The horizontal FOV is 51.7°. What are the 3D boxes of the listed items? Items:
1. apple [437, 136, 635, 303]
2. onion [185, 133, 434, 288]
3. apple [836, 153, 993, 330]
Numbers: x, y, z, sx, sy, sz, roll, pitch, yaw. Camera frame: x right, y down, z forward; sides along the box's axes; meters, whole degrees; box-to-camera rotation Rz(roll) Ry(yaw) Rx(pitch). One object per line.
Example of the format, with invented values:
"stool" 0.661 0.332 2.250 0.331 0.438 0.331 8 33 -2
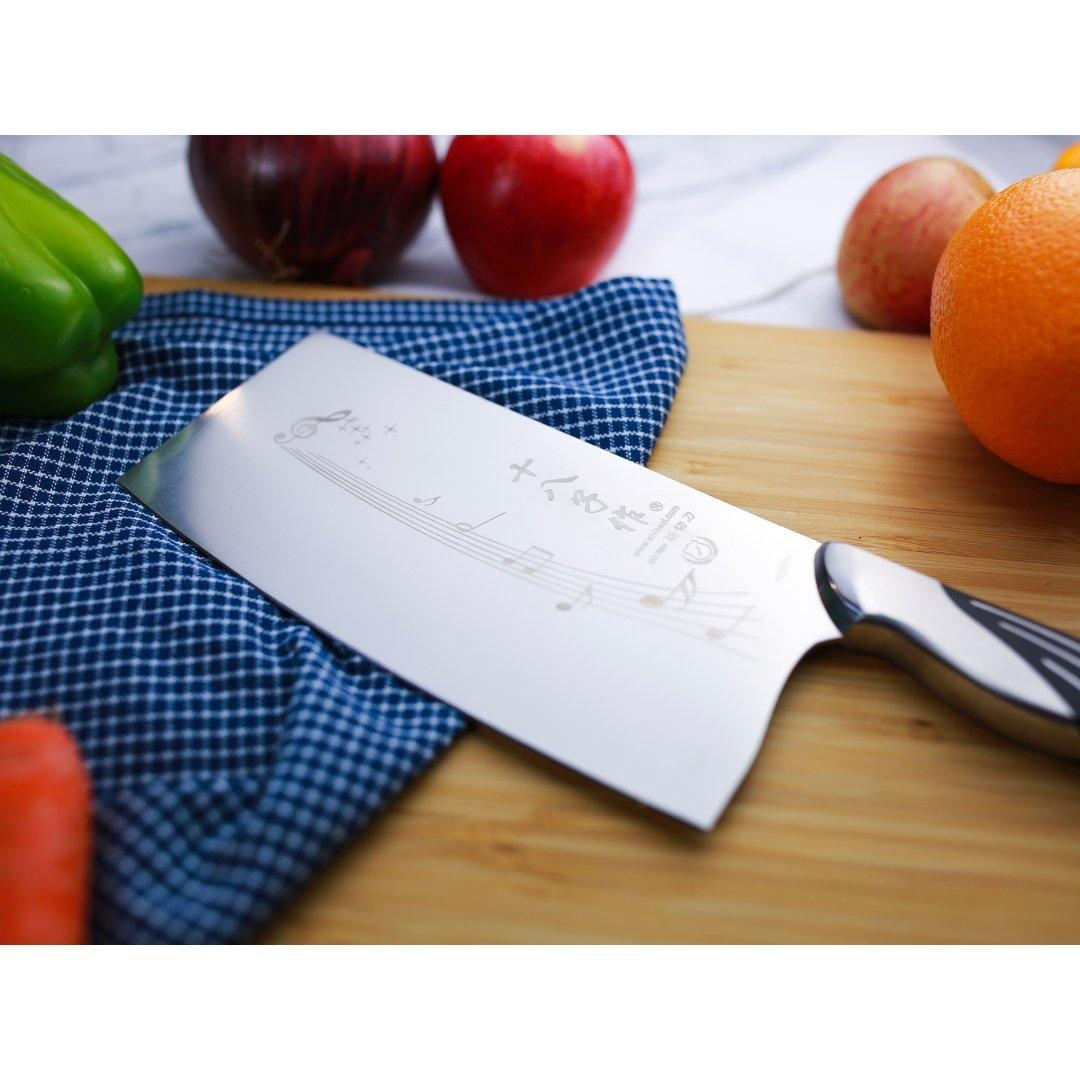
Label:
"apple" -0.010 -0.275 0.915 0.177 0.150 0.169 -5 12 -16
"onion" -0.179 -0.272 0.913 0.200 0.135 0.193 -8 22 -18
"apple" 0.288 -0.211 0.864 0.111 0.118 0.104 1 18 -22
